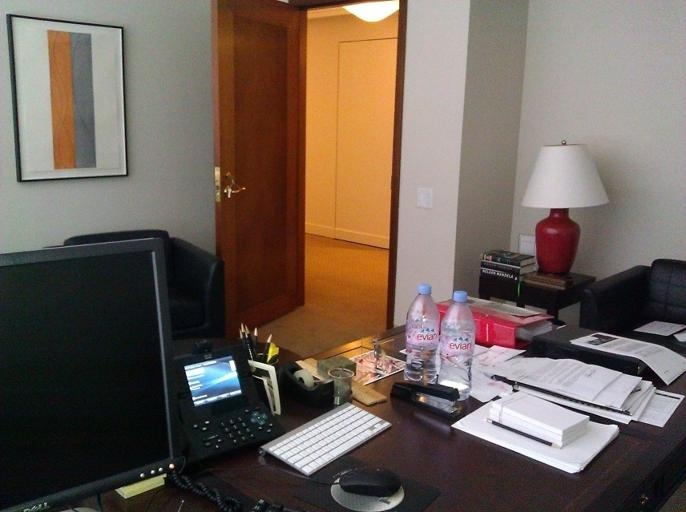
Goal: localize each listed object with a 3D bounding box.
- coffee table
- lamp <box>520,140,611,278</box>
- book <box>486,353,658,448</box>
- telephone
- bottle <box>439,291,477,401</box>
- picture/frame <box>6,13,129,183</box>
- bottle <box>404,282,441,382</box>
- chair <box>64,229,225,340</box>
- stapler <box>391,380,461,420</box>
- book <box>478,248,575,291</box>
[{"bbox_3d":[1.176,0.188,3.417,0.593,0.304,0.563,12,15,41],"label":"coffee table"},{"bbox_3d":[1.364,-0.289,3.460,0.556,0.819,0.512,-9,13,-42],"label":"lamp"},{"bbox_3d":[0.736,0.389,1.780,0.430,0.138,0.462,12,13,33],"label":"book"},{"bbox_3d":[-0.330,0.373,1.525,0.263,0.314,0.247,-5,17,-37],"label":"telephone"},{"bbox_3d":[0.380,0.294,1.817,0.140,0.340,0.132,2,6,0],"label":"bottle"},{"bbox_3d":[-1.819,-1.049,3.686,0.753,1.014,0.030,-14,18,-39],"label":"picture/frame"},{"bbox_3d":[0.272,0.272,1.918,0.129,0.344,0.129,2,4,0],"label":"bottle"},{"bbox_3d":[-1.301,0.214,3.784,0.933,1.024,0.851,-7,12,-43],"label":"chair"},{"bbox_3d":[0.253,0.424,1.712,0.244,0.073,0.060,6,17,43],"label":"stapler"},{"bbox_3d":[1.189,0.028,3.491,0.412,0.232,0.511,-9,16,-42],"label":"book"}]
